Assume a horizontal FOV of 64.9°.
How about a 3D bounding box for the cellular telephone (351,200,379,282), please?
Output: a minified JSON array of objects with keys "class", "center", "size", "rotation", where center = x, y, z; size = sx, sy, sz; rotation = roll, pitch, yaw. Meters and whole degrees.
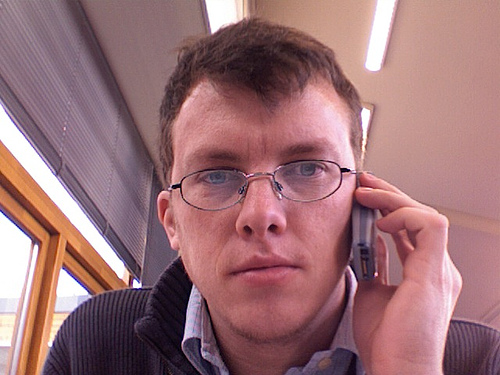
[{"class":"cellular telephone","center":[0.424,0.201,1.456],"size":[0.080,0.274,0.141],"rotation":[-3,26,21]}]
